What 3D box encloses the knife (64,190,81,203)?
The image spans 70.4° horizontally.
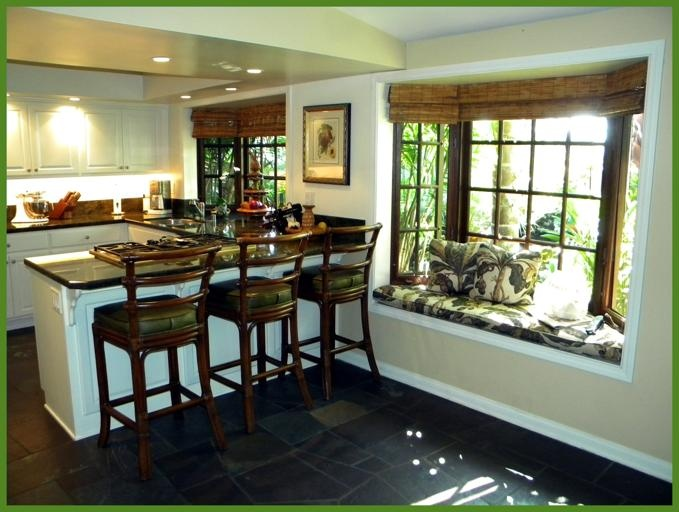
[{"bbox_3d":[-3.285,-0.722,5.938,0.158,0.142,0.044,17,-16,-17],"label":"knife"}]

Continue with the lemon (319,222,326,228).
[{"bbox_3d":[-0.165,-0.290,4.481,0.052,0.051,0.059,31,31,-27],"label":"lemon"}]

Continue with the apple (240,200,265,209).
[{"bbox_3d":[-0.850,-0.510,4.736,0.236,0.084,0.221,-1,10,-6],"label":"apple"}]

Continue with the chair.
[{"bbox_3d":[-0.725,0.734,3.464,1.693,0.966,0.541,-7,14,-43],"label":"chair"}]
